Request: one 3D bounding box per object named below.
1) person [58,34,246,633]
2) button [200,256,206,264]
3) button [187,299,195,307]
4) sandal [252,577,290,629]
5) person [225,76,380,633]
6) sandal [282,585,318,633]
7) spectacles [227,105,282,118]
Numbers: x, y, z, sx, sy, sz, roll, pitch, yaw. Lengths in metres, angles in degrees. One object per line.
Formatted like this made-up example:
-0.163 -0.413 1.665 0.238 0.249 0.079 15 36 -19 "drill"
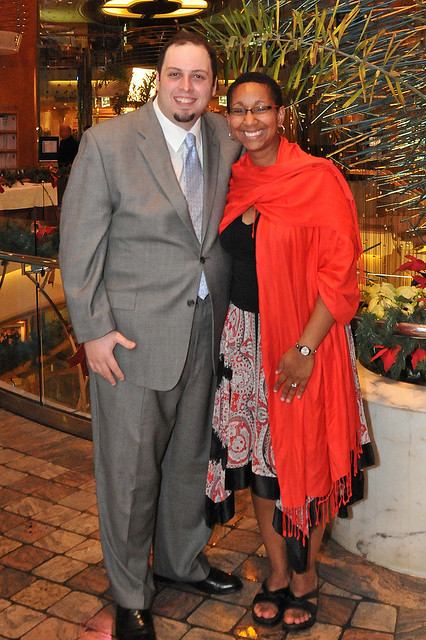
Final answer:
-0.164 0.094 1.550 0.532 1.800 0.357 -3 8 -5 "person"
-0.028 -0.172 1.423 0.005 0.018 0.021 5 11 41 "button"
-0.065 -0.049 1.422 0.022 0.020 0.005 -2 4 -14 "button"
0.177 0.908 1.602 0.165 0.090 0.129 2 18 0 "sandal"
0.242 0.152 1.479 0.437 1.652 0.274 0 9 17 "person"
0.279 0.921 1.561 0.109 0.084 0.114 -1 9 9 "sandal"
0.097 -0.559 1.315 0.116 0.028 0.024 1 9 16 "spectacles"
